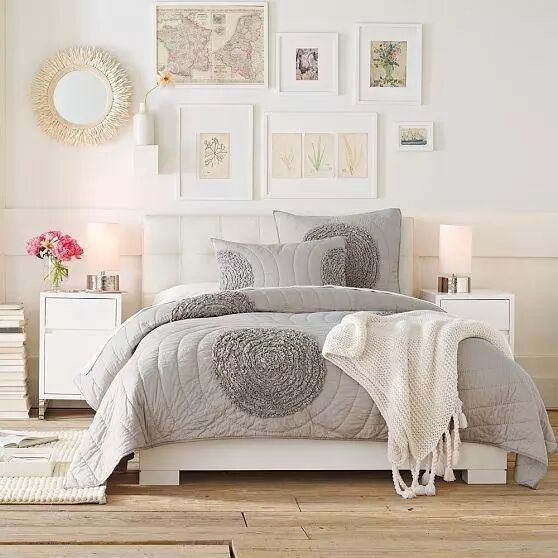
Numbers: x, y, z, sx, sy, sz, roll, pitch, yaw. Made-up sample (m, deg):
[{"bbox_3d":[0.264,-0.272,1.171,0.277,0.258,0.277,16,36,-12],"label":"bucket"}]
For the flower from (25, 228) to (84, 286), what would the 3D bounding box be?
[{"bbox_3d":[-1.286,-0.105,3.653,0.372,0.335,0.348,1,0,26],"label":"flower"}]

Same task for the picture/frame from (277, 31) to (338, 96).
[{"bbox_3d":[0.158,-1.310,3.828,0.446,0.370,0.039,0,9,2],"label":"picture/frame"}]

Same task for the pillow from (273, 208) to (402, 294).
[{"bbox_3d":[0.314,-0.136,3.391,0.526,0.425,0.183,1,-20,-12],"label":"pillow"}]

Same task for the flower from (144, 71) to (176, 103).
[{"bbox_3d":[-0.725,-1.111,3.787,0.095,0.231,0.137,8,38,-41],"label":"flower"}]

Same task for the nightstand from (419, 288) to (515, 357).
[{"bbox_3d":[1.000,0.233,3.561,0.550,0.452,0.337,0,-1,-2],"label":"nightstand"}]

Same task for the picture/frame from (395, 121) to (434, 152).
[{"bbox_3d":[0.820,-0.867,3.852,0.205,0.144,0.015,0,3,0],"label":"picture/frame"}]

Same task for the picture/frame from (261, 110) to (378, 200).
[{"bbox_3d":[0.220,-0.770,3.859,0.633,0.379,0.021,0,1,-4],"label":"picture/frame"}]

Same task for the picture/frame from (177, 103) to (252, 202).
[{"bbox_3d":[-0.416,-0.783,3.835,0.695,0.750,0.033,0,3,-3],"label":"picture/frame"}]

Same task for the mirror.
[{"bbox_3d":[-1.220,-1.108,3.771,0.708,0.612,0.093,-1,6,0],"label":"mirror"}]

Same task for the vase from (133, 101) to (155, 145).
[{"bbox_3d":[-0.813,-0.919,3.786,0.184,0.234,0.171,-4,16,-19],"label":"vase"}]
